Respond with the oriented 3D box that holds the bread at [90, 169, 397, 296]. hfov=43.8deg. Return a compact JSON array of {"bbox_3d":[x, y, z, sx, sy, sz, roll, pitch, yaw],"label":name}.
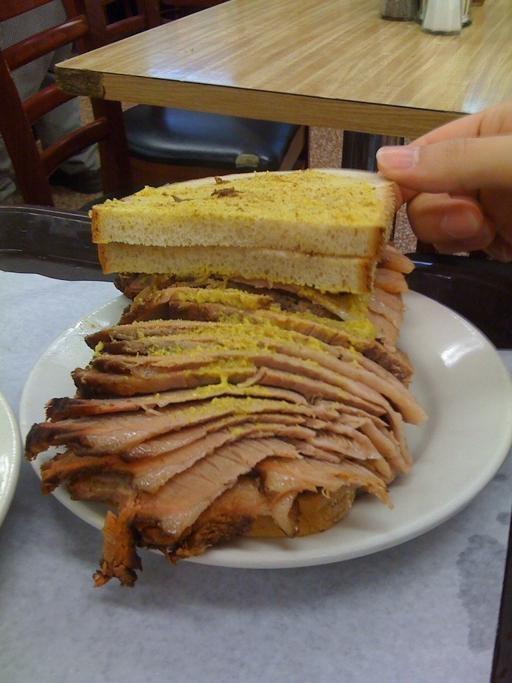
[{"bbox_3d":[-0.016,-0.184,1.145,0.402,0.103,0.332,5,33,9],"label":"bread"}]
